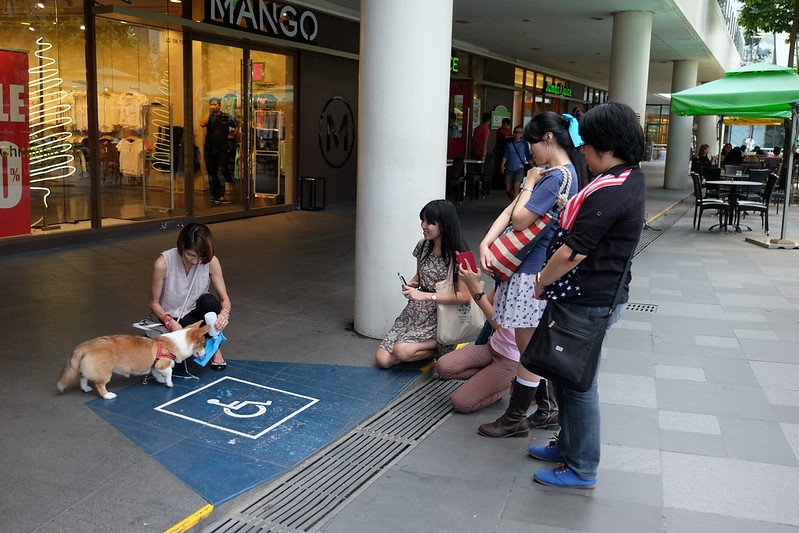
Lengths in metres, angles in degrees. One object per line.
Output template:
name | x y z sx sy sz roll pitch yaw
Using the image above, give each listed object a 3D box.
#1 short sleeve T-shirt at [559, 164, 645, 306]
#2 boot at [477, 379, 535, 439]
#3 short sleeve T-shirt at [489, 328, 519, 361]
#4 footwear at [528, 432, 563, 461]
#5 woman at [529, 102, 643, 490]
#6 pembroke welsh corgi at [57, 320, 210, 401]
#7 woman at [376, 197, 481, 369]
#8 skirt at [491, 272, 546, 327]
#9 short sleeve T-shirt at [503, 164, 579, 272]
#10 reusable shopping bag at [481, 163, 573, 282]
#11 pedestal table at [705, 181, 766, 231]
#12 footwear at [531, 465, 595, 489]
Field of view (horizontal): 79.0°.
short sleeve T-shirt | 1.094 -0.158 2.615 0.459 0.751 0.184 -5 14 -10
boot | 0.760 1.011 3.494 0.399 0.414 0.191 7 2 -4
short sleeve T-shirt | 0.791 0.577 3.616 0.166 0.267 0.283 -4 8 -8
footwear | 0.973 1.227 3.289 0.318 0.140 0.114 7 4 13
woman | 1.069 0.193 2.844 0.599 2.179 0.758 6 7 25
pembroke welsh corgi | -2.031 0.716 3.759 1.053 0.474 0.275 2 2 -43
woman | 0.211 0.165 4.182 0.868 1.333 0.730 -6 17 -23
skirt | 0.768 0.214 3.374 0.447 0.425 0.324 1 6 8
short sleeve T-shirt | 0.935 -0.308 3.288 0.278 0.692 0.437 34 6 -9
reusable shopping bag | 0.875 -0.284 3.298 0.280 0.777 0.462 32 10 -19
pedestal table | 8.891 -1.598 12.834 1.502 1.201 1.464 -9 14 -35
footwear | 0.994 1.283 3.010 0.383 0.139 0.132 6 4 4
